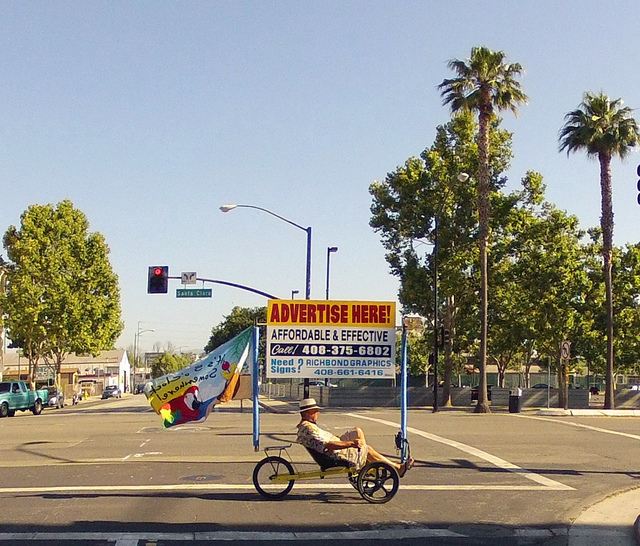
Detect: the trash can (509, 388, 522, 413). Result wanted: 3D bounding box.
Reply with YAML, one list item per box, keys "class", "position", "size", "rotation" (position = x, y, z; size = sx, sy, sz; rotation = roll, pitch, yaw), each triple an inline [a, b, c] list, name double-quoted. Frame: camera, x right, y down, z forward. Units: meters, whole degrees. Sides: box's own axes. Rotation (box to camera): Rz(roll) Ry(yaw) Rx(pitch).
- class: "trash can"
  position: [9.003, 5.926, 44.010]
  size: [0.498, 1.097, 1.129]
  rotation: [-1, -8, 9]

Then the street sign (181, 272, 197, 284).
- class: "street sign"
  position: [-5.717, 0.211, 40.946]
  size: [0.786, 0.746, 0.124]
  rotation: [-2, 5, 2]

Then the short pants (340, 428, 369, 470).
- class: "short pants"
  position: [0.755, 3.885, 20.893]
  size: [0.596, 0.896, 0.380]
  rotation: [-2, -7, 14]

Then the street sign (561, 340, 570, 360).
- class: "street sign"
  position: [10.566, 3.282, 40.930]
  size: [0.264, 0.789, 1.988]
  rotation: [-2, -9, 16]

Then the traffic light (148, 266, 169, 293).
- class: "traffic light"
  position: [-7.331, 0.277, 42.585]
  size: [0.845, 1.173, 0.942]
  rotation: [1, -8, -7]
